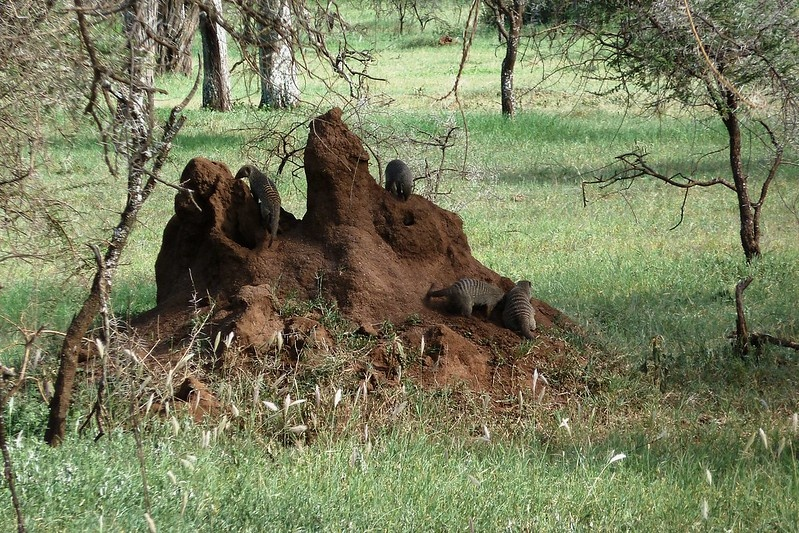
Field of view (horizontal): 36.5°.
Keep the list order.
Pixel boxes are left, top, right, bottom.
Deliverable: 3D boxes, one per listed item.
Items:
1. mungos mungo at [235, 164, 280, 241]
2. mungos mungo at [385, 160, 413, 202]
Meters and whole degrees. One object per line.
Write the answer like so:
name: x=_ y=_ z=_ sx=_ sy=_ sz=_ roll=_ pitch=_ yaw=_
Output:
mungos mungo: x=-2.025 y=-0.870 z=17.206 sx=0.303 sy=1.116 sz=0.403 roll=-8 pitch=-31 yaw=-39
mungos mungo: x=0.005 y=-1.277 z=17.754 sx=0.386 sy=0.594 sz=0.392 roll=-2 pitch=4 yaw=-1
